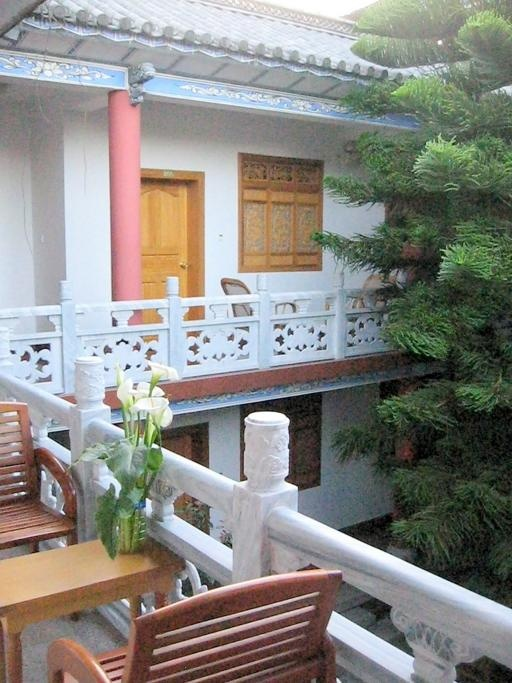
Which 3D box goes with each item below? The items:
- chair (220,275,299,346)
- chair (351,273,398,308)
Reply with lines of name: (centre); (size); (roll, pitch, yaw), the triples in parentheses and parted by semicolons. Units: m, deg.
chair: (0.008, -0.343, 5.980); (0.740, 0.843, 0.607); (-7, 13, -18)
chair: (1.143, -0.487, 5.977); (0.403, 0.303, 0.960); (0, 8, 11)
